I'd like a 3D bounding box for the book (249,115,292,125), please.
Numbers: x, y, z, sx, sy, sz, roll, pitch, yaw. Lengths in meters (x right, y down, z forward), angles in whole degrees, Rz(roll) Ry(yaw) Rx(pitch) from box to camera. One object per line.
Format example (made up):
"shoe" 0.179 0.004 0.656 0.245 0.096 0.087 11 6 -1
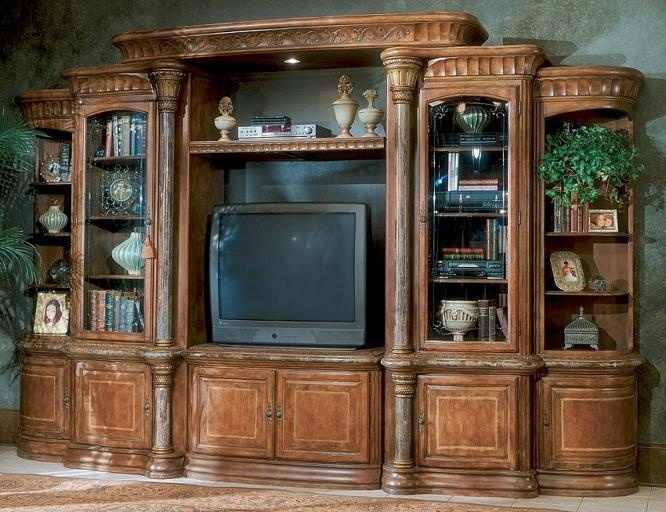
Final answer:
"book" -0.441 -0.978 5.204 0.176 0.038 0.154 0 -1 4

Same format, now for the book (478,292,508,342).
"book" 1.053 0.410 4.960 0.282 0.342 0.381 -1 -1 17

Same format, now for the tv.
"tv" -0.217 0.150 5.433 1.293 1.030 0.711 0 -1 23

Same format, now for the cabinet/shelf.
"cabinet/shelf" 0.158 0.059 4.978 3.967 2.402 0.760 0 0 16

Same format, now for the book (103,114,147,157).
"book" -1.497 -0.869 5.249 0.366 0.313 0.187 0 2 13
